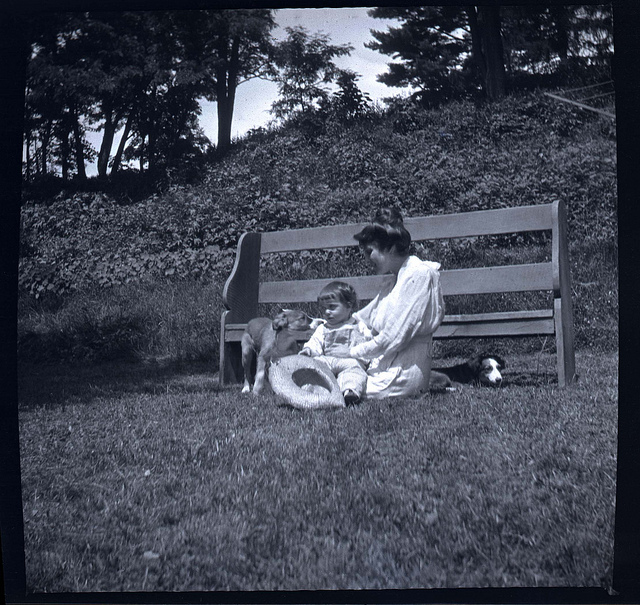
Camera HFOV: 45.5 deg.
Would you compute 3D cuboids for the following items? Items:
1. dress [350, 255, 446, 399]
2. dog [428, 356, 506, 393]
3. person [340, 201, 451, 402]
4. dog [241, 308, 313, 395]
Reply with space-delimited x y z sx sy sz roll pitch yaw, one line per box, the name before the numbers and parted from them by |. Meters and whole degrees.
dress | 0.381 0.115 3.816 0.469 0.692 0.294 0 2 13
dog | 0.777 0.352 4.006 0.438 0.297 0.180 1 -4 22
person | 0.383 -0.008 3.797 0.528 0.944 0.497 0 2 12
dog | -0.276 0.280 4.207 0.502 0.500 0.195 6 1 42
